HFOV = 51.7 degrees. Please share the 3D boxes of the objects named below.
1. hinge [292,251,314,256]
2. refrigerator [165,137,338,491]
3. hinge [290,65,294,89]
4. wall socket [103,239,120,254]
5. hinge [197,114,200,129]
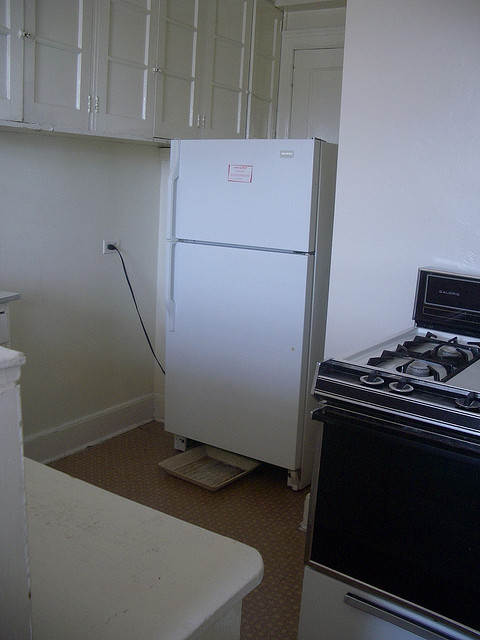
[{"bbox_3d":[0.309,-0.327,2.423,0.098,0.031,0.041,-7,11,7],"label":"hinge"},{"bbox_3d":[0.147,0.115,2.985,0.854,2.114,0.869,8,10,32],"label":"refrigerator"},{"bbox_3d":[0.387,-1.825,3.711,0.029,0.147,0.044,0,12,32],"label":"hinge"},{"bbox_3d":[-0.784,-0.449,3.009,0.014,0.088,0.136,1,14,33],"label":"wall socket"},{"bbox_3d":[-0.255,-1.213,3.019,0.012,0.061,0.053,5,4,8],"label":"hinge"}]
